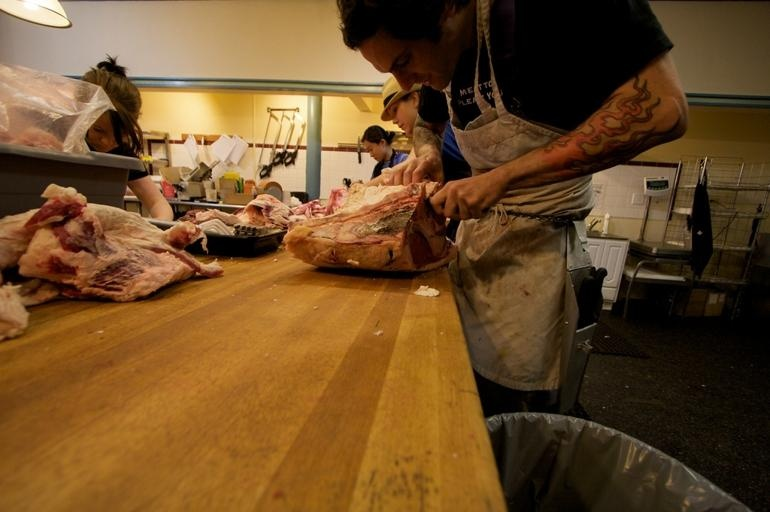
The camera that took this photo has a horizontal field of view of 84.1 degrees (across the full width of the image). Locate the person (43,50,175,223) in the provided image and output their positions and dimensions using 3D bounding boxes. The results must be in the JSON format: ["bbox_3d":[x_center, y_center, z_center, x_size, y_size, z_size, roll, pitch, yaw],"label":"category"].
[{"bbox_3d":[-1.614,-0.770,2.690,0.407,1.124,1.215,-5,11,-26],"label":"person"}]
